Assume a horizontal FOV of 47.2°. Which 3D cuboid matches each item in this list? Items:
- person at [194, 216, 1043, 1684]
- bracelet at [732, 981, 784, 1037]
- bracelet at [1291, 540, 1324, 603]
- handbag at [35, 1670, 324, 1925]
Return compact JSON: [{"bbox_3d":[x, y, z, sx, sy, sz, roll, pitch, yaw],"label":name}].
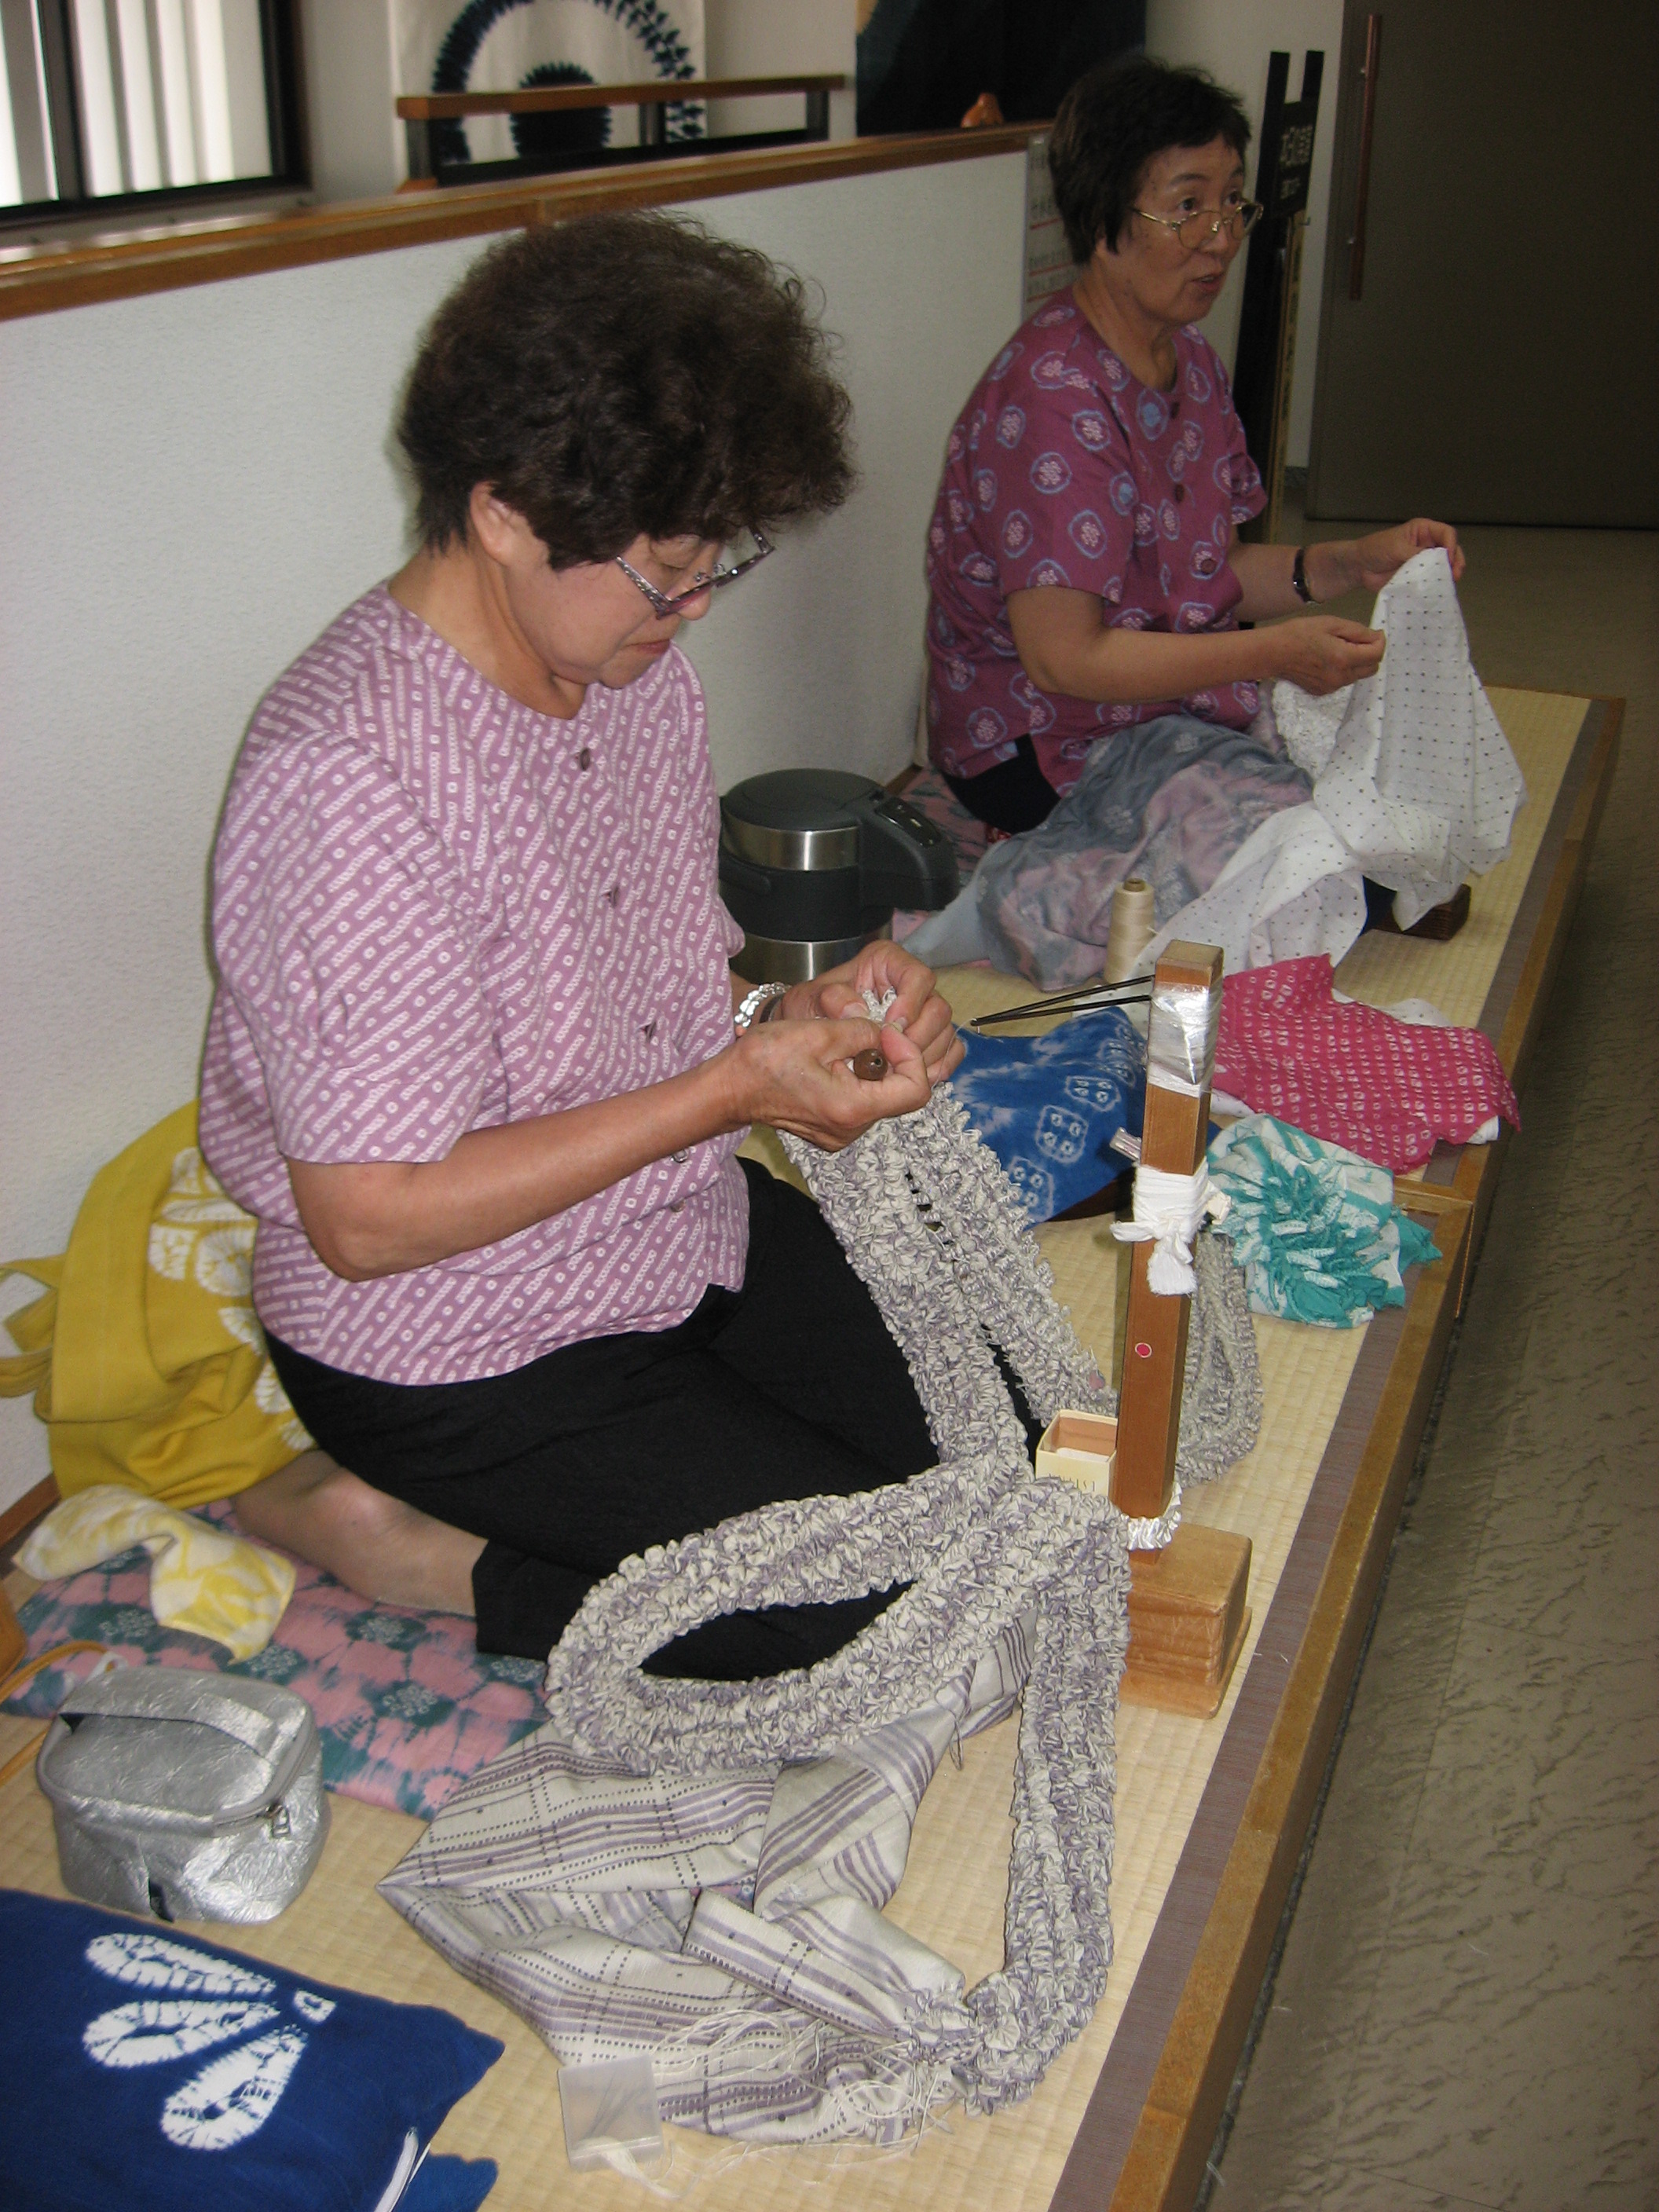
[{"bbox_3d":[-0.172,-0.068,1.244,0.501,0.931,0.426,-14,29,-22],"label":"person"},{"bbox_3d":[-0.051,-0.075,1.491,0.042,0.041,0.047,6,49,-7],"label":"bracelet"},{"bbox_3d":[0.637,-0.725,2.567,0.025,0.065,0.050,6,8,4],"label":"bracelet"},{"bbox_3d":[-0.411,0.433,1.241,0.165,0.090,0.144,9,26,4],"label":"handbag"}]
